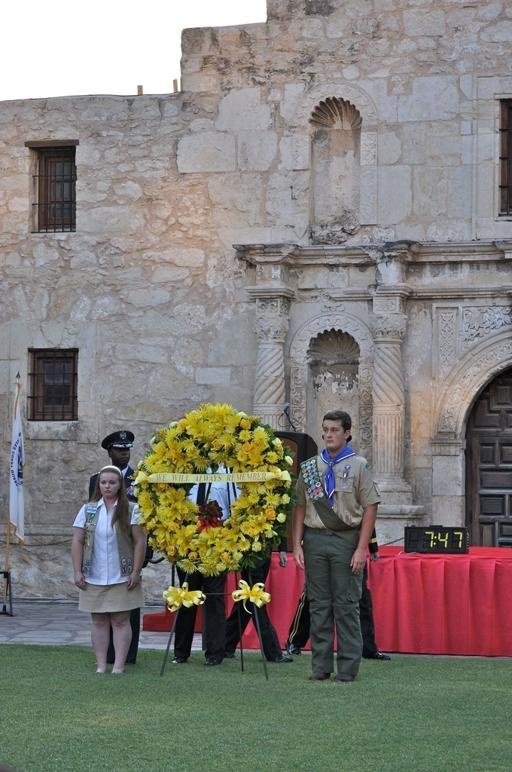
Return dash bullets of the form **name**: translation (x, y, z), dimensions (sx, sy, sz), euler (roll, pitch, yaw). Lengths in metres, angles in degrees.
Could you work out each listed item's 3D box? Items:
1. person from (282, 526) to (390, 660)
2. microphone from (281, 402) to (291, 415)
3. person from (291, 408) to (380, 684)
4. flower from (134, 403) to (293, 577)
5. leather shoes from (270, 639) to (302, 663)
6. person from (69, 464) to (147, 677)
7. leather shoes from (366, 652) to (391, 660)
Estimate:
- **person**: translation (0.549, 1.426, 11.798), dimensions (0.832, 0.519, 2.240), euler (15, 1, 1)
- **microphone**: translation (0.271, 0.209, 16.477), dimensions (0.086, 0.129, 0.096), euler (5, -3, 3)
- **person**: translation (0.493, 1.037, 11.288), dimensions (0.598, 1.741, 0.292), euler (0, -4, 16)
- **flower**: translation (-0.283, 0.683, 11.438), dimensions (1.000, 1.132, 0.472), euler (-8, -3, 17)
- **leather shoes**: translation (0.203, 1.893, 12.356), dimensions (0.119, 0.146, 0.345), euler (1, -14, -1)
- **person**: translation (-0.993, 1.217, 11.499), dimensions (0.479, 1.362, 0.267), euler (1, -4, -4)
- **leather shoes**: translation (0.863, 1.941, 12.443), dimensions (0.193, 0.084, 0.066), euler (1, -1, -2)
